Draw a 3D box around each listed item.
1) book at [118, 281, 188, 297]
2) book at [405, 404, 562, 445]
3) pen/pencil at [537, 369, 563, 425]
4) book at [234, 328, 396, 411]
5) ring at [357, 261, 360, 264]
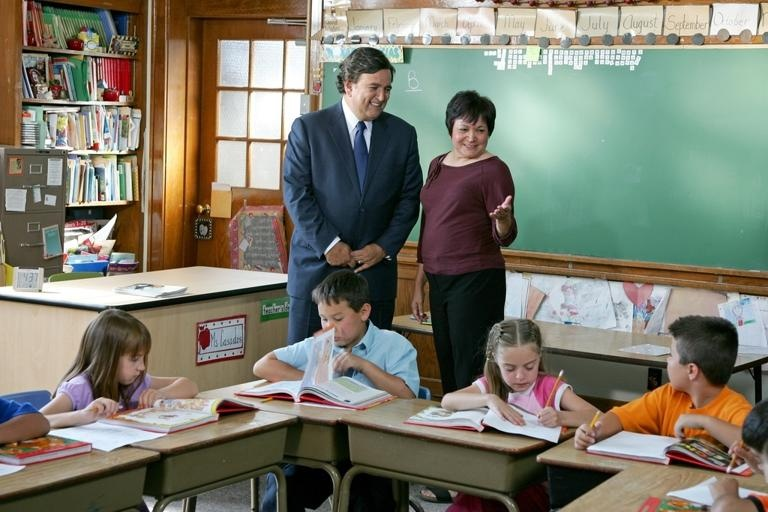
[{"bbox_3d":[-1.285,0.183,3.129,0.380,0.041,0.319,1,9,12],"label":"book"},{"bbox_3d":[0.340,0.545,1.887,0.508,0.066,0.207,1,9,14],"label":"book"},{"bbox_3d":[0.596,0.514,2.012,0.021,0.164,0.021,18,-6,33],"label":"pen/pencil"},{"bbox_3d":[-0.255,0.414,2.182,0.567,0.265,0.286,2,9,18],"label":"book"},{"bbox_3d":[-0.117,0.029,2.646,0.014,0.014,0.005,1,2,6],"label":"ring"}]
